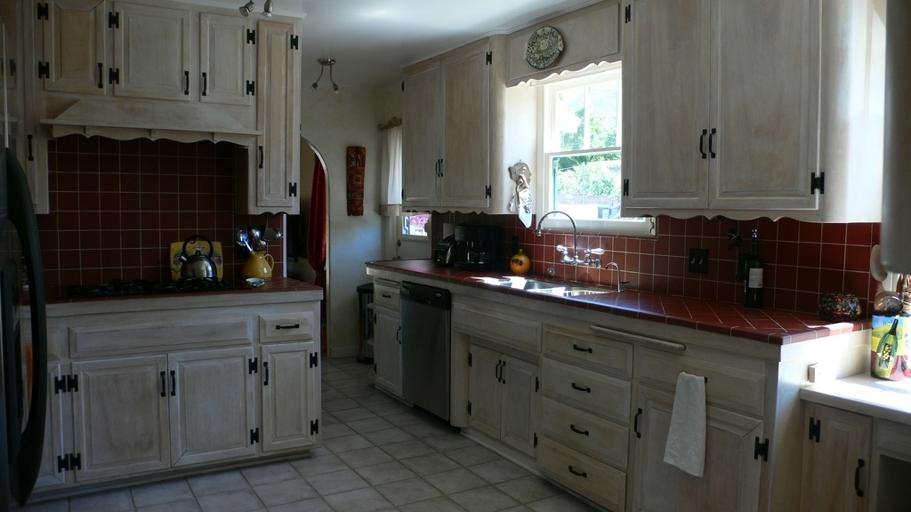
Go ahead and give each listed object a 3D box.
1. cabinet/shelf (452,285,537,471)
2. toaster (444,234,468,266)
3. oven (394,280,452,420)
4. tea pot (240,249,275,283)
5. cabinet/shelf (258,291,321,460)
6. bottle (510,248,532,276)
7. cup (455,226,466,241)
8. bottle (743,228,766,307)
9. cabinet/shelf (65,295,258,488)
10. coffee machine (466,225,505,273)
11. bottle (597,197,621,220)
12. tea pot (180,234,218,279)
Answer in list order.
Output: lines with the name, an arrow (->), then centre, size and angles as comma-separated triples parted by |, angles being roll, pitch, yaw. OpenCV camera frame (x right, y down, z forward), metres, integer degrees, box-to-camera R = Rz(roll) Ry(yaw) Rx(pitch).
cabinet/shelf -> 0.542, 0.935, 5.337 | 0.676, 1.275, 0.956 | -6, 10, -42
toaster -> 0.011, -0.032, 5.979 | 0.172, 0.307, 0.315 | -1, -3, 42
oven -> -0.096, 0.830, 5.873 | 0.687, 1.057, 0.706 | 6, 13, 28
tea pot -> -1.629, 0.099, 5.305 | 0.223, 0.241, 0.256 | -10, -12, 44
cabinet/shelf -> -1.283, 0.933, 4.979 | 0.468, 1.112, 0.216 | -2, 12, -14
bottle -> 0.569, 0.064, 5.732 | 0.214, 0.258, 0.205 | 3, 3, 0
cup -> 0.039, -0.207, 5.938 | 0.146, 0.134, 0.117 | 7, 10, 44
bottle -> 2.038, 0.084, 4.409 | 0.134, 0.507, 0.178 | 6, 13, 25
cabinet/shelf -> -2.105, 1.025, 4.953 | 1.391, 1.153, 0.618 | -6, -7, -5
coffee machine -> 0.264, -0.063, 5.843 | 0.413, 0.442, 0.334 | 2, -2, -33
bottle -> 1.249, -0.385, 5.298 | 0.065, 0.185, 0.222 | -7, 14, -31
tea pot -> -2.102, 0.041, 5.262 | 0.297, 0.395, 0.280 | -4, -8, -1
